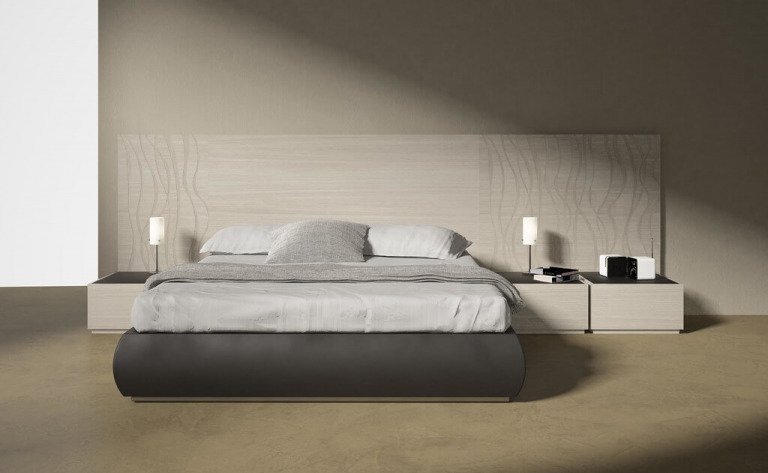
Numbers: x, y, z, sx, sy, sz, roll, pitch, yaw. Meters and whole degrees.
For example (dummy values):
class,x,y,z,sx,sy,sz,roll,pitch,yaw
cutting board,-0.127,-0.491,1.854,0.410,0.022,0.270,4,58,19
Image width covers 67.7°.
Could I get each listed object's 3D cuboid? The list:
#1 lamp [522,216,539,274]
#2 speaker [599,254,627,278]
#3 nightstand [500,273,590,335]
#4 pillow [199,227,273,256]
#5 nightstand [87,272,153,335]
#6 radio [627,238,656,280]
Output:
class,x,y,z,sx,sy,sz,roll,pitch,yaw
lamp,1.444,0.077,5.628,0.164,0.548,0.464,1,2,14
speaker,2.158,0.271,5.464,0.369,0.220,0.190,0,3,3
nightstand,1.512,0.627,5.122,0.755,0.326,0.505,0,-2,4
pillow,-1.391,0.040,5.503,0.670,0.273,0.253,0,2,2
nightstand,-2.362,0.597,5.231,0.515,0.419,0.928,0,0,-7
radio,2.486,0.279,5.533,0.272,0.442,0.262,1,-1,2
